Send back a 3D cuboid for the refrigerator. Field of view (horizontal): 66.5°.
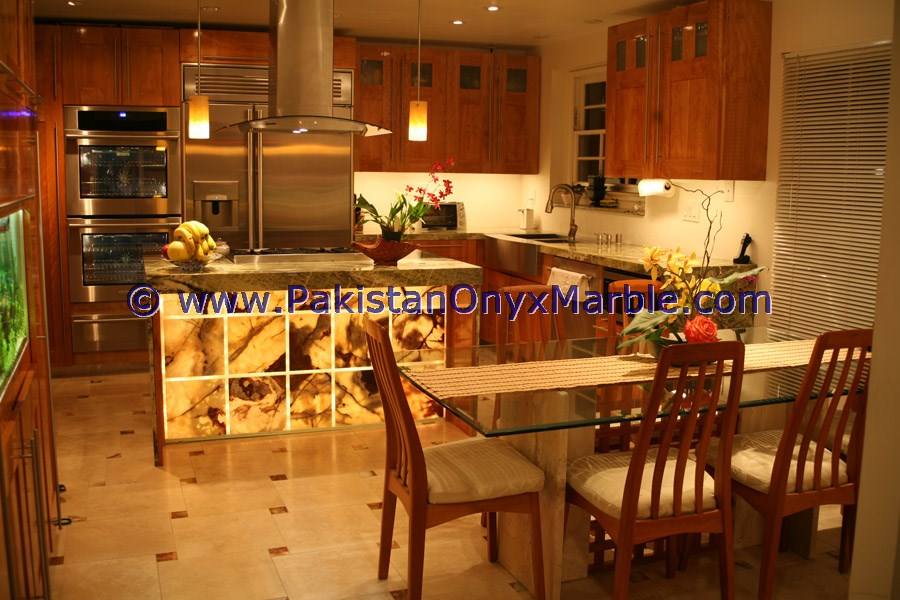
[{"bbox_3d":[-1.696,-1.119,6.102,1.581,1.434,0.798,-1,4,-16],"label":"refrigerator"}]

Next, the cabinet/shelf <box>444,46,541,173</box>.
[{"bbox_3d":[0.472,-2.010,7.380,1.116,1.270,0.277,-4,14,-20],"label":"cabinet/shelf"}]

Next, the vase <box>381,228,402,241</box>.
[{"bbox_3d":[-0.411,-0.467,4.929,0.146,0.100,0.203,-1,12,-7],"label":"vase"}]

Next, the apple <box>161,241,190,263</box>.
[{"bbox_3d":[-1.762,-0.307,4.411,0.160,0.120,0.117,18,31,21],"label":"apple"}]

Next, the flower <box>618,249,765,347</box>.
[{"bbox_3d":[1.412,-0.004,3.883,0.506,0.302,0.342,-15,37,-4],"label":"flower"}]

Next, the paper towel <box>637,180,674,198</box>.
[{"bbox_3d":[1.764,-0.941,5.811,0.193,0.078,0.187,2,1,-7],"label":"paper towel"}]

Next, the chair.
[{"bbox_3d":[0.715,0.693,3.034,2.058,1.234,0.798,-3,13,-14],"label":"chair"}]
